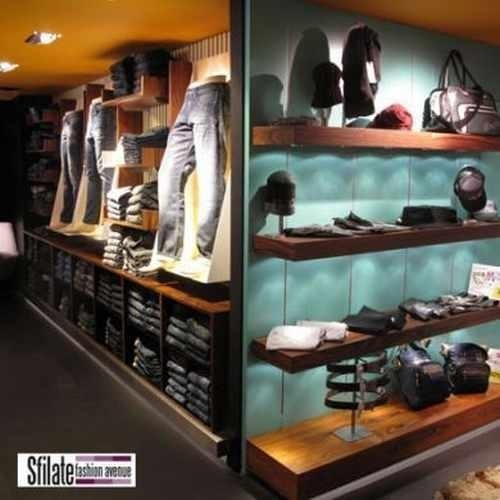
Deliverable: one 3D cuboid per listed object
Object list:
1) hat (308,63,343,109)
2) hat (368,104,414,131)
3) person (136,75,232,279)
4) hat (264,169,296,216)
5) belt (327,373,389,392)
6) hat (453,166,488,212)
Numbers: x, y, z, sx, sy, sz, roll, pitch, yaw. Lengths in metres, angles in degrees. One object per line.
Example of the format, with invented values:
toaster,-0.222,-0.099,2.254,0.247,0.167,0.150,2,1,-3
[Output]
hat,0.373,-0.835,2.139,0.172,0.238,0.133,9,22,32
hat,0.768,-0.720,2.290,0.264,0.140,0.097,-4,11,-26
person,-0.366,-0.414,2.682,0.339,1.258,0.838,-4,11,-28
hat,0.149,-0.320,2.173,0.173,0.309,0.222,-1,14,3
belt,0.549,0.678,2.168,0.157,0.045,0.177,0,0,40
hat,1.440,-0.393,2.775,0.189,0.313,0.108,-11,17,9
